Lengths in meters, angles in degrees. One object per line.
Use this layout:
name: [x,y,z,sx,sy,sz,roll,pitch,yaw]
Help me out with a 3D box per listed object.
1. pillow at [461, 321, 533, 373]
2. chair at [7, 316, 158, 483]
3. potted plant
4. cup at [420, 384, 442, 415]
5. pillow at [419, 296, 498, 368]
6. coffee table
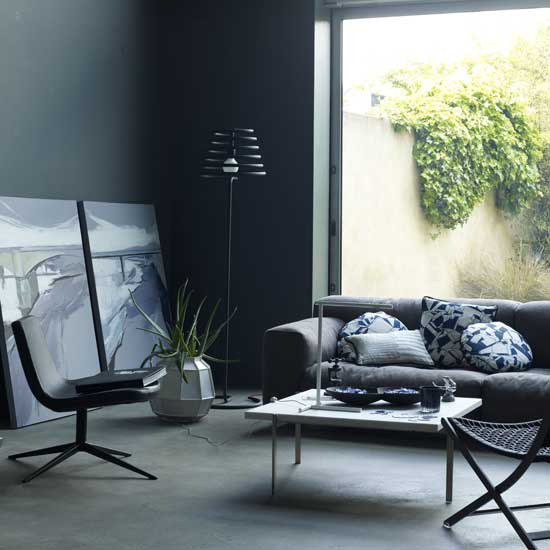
pillow: [1.338,0.439,3.104,0.377,0.297,0.306,4,-7,-31]
chair: [-0.826,0.551,2.458,0.724,0.763,0.602,2,-2,-6]
potted plant: [-0.676,0.545,3.748,0.769,1.012,0.922,-4,-9,34]
cup: [0.613,0.494,2.023,0.075,0.101,0.098,3,5,15]
pillow: [1.146,0.375,3.207,0.332,0.387,0.143,7,-8,-1]
coffee table: [0.361,0.701,2.130,0.905,0.340,0.628,-2,-7,22]
